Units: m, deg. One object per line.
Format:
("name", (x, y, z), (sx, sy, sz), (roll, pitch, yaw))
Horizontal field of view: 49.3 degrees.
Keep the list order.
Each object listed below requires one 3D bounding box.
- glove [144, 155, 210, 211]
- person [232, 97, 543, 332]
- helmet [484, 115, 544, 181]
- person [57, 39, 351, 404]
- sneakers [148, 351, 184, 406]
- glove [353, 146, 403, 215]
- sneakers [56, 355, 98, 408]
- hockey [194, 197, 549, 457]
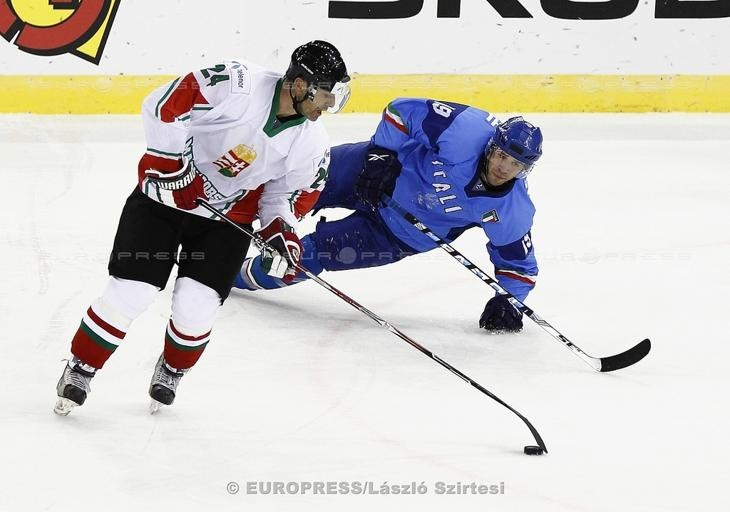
("glove", (-0.747, -0.295, 3.184), (0.253, 0.169, 0.179), (10, 28, 27))
("person", (0.278, -0.244, 4.048), (1.852, 0.913, 0.671), (-2, 44, 36))
("helmet", (0.699, -0.515, 3.823), (0.277, 0.290, 0.192), (20, 27, 29))
("person", (-0.684, -0.134, 3.227), (1.131, 1.456, 0.505), (-11, 30, -36))
("sneakers", (-0.814, 0.490, 3.306), (0.123, 0.084, 0.277), (-33, 23, 11))
("glove", (0.066, -0.391, 4.132), (0.264, 0.291, 0.083), (25, -6, 24))
("sneakers", (-1.144, 0.508, 3.161), (0.125, 0.224, 0.147), (10, 24, 6))
("hockey", (0.013, 0.333, 3.648), (2.131, 0.160, 0.212), (27, 71, 18))
